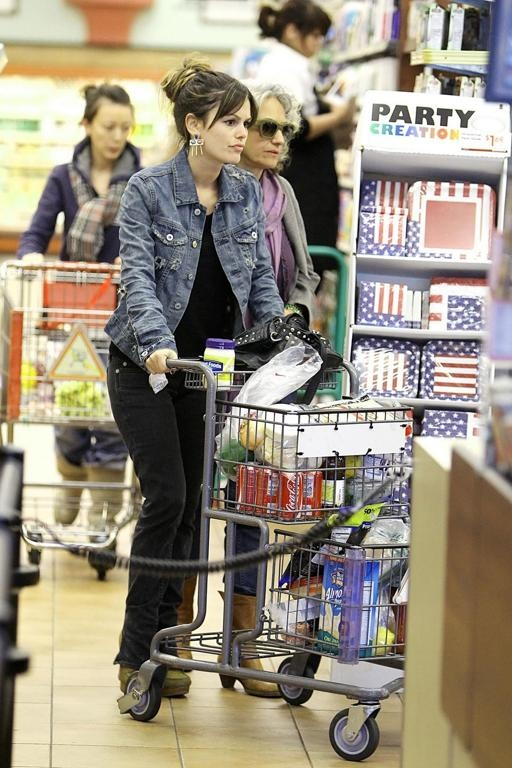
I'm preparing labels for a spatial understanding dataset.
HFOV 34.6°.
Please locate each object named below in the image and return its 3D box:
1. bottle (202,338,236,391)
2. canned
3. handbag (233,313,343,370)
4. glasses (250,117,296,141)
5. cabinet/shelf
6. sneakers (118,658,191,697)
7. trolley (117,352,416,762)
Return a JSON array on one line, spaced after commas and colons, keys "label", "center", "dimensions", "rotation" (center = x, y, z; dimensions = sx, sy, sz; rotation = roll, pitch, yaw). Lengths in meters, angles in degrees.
[{"label": "bottle", "center": [-0.109, -0.061, 2.373], "dimensions": [0.097, 0.129, 0.093], "rotation": [5, 10, -1]}, {"label": "canned", "center": [0.060, 0.290, 2.192], "dimensions": [0.235, 0.143, 0.156], "rotation": [4, 1, 3]}, {"label": "handbag", "center": [0.076, -0.099, 2.535], "dimensions": [0.282, 0.097, 0.281], "rotation": [-6, -27, -1]}, {"label": "glasses", "center": [0.039, -0.942, 3.082], "dimensions": [0.117, 0.035, 0.114], "rotation": [-2, 7, -37]}, {"label": "cabinet/shelf", "center": [0.770, -0.396, 3.825], "dimensions": [0.665, 1.301, 0.527], "rotation": [4, 1, 5]}, {"label": "sneakers", "center": [-0.314, 0.932, 2.582], "dimensions": [0.240, 0.097, 0.133], "rotation": [0, 2, -3]}, {"label": "trolley", "center": [0.065, 0.481, 2.312], "dimensions": [0.732, 1.046, 0.587], "rotation": [4, 1, 9]}]
